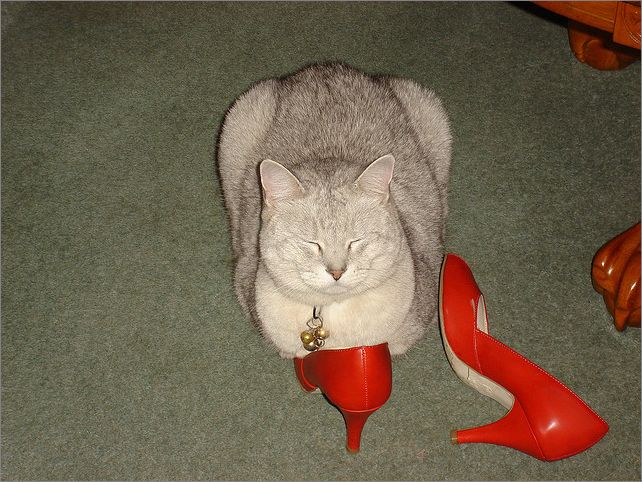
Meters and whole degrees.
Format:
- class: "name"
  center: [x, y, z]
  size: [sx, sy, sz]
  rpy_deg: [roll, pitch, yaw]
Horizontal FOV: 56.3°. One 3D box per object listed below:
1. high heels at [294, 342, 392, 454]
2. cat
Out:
- class: "high heels"
  center: [0.052, 0.361, 1.639]
  size: [0.151, 0.211, 0.420]
  rpy_deg: [-4, 29, -13]
- class: "cat"
  center: [0.029, -0.183, 1.918]
  size: [0.772, 0.970, 0.670]
  rpy_deg: [-3, -35, 2]
